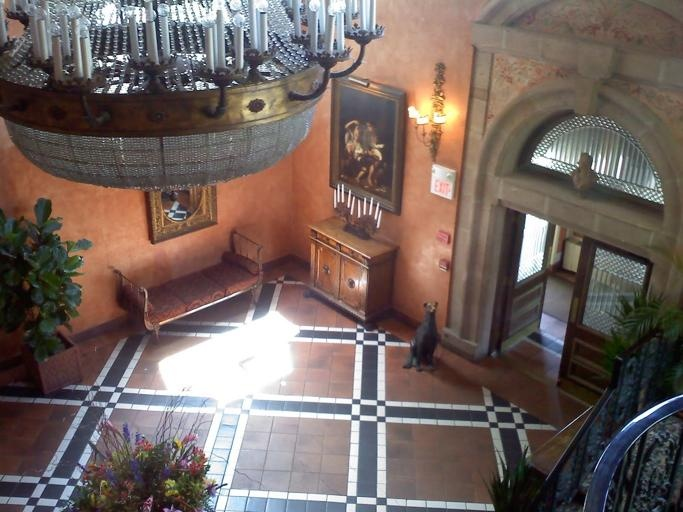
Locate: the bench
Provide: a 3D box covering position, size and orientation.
[{"bbox_3d":[-2.415,0.599,9.228,2.512,1.346,1.334,-29,54,-27],"label":"bench"}]

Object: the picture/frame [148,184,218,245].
[{"bbox_3d":[-2.532,-0.657,8.162,0.833,0.996,0.066,-25,38,-37],"label":"picture/frame"}]

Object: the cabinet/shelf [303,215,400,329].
[{"bbox_3d":[0.238,0.286,8.844,0.675,1.256,1.327,-26,51,-35],"label":"cabinet/shelf"}]
